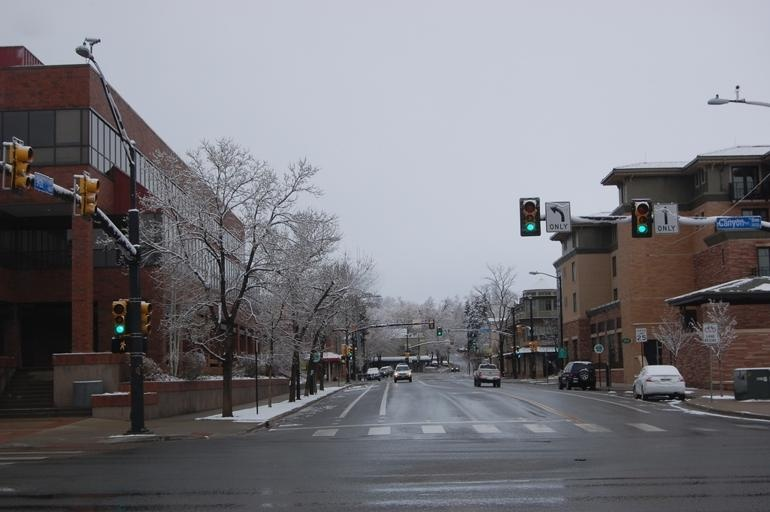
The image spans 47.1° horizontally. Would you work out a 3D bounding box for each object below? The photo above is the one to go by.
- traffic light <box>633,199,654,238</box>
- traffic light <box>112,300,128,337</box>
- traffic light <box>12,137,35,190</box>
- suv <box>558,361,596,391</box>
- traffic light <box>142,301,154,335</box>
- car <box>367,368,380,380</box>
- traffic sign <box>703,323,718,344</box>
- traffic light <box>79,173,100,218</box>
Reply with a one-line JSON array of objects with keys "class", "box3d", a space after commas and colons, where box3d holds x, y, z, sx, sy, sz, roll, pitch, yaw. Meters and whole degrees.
[{"class": "traffic light", "box3d": [10.055, -1.521, 34.905, 0.794, 1.461, 0.630, -5, -12, 14]}, {"class": "traffic light", "box3d": [-10.402, 2.384, 34.878, 0.583, 1.572, 0.789, 2, -12, -17]}, {"class": "traffic light", "box3d": [-11.353, -2.881, 27.648, 0.581, 1.601, 0.728, 3, -12, -24]}, {"class": "suv", "box3d": [13.777, 8.505, 63.775, 1.483, 2.126, 3.631, 0, -13, -7]}, {"class": "traffic light", "box3d": [-9.499, 2.357, 35.180, 0.310, 1.272, 0.689, -2, -12, 1]}, {"class": "car", "box3d": [-1.565, 14.242, 109.312, 1.555, 1.238, 2.772, -1, -14, -5]}, {"class": "traffic sign", "box3d": [16.085, 3.795, 44.115, 0.934, 1.132, 0.156, 1, -4, -1]}, {"class": "traffic light", "box3d": [-10.380, -2.197, 30.970, 0.615, 1.537, 0.760, 3, -12, -21]}]
